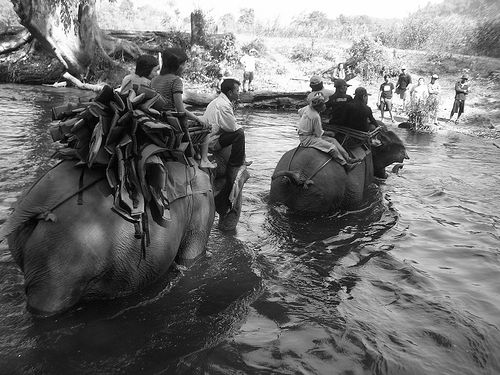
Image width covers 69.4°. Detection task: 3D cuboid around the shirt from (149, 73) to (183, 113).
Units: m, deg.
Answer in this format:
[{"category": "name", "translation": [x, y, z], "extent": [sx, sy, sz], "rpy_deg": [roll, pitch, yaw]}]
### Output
[{"category": "shirt", "translation": [-1.132, -1.316, 4.933], "extent": [0.376, 0.469, 0.548], "rpy_deg": [-6, 22, -29]}]

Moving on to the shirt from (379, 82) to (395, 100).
[{"category": "shirt", "translation": [6.864, -4.850, 18.049], "extent": [0.571, 0.780, 0.423], "rpy_deg": [10, 20, 15]}]

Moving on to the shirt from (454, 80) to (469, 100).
[{"category": "shirt", "translation": [10.881, -4.972, 18.518], "extent": [0.595, 0.914, 0.907], "rpy_deg": [14, 21, 27]}]

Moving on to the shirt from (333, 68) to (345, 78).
[{"category": "shirt", "translation": [6.114, -7.824, 24.603], "extent": [0.700, 0.544, 1.497], "rpy_deg": [7, 19, 5]}]

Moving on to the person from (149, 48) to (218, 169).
[{"category": "person", "translation": [-0.991, -1.116, 5.282], "extent": [0.649, 1.701, 0.998], "rpy_deg": [8, 10, 38]}]

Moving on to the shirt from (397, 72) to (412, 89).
[{"category": "shirt", "translation": [8.596, -5.883, 20.027], "extent": [0.617, 0.849, 0.459], "rpy_deg": [11, 20, 19]}]

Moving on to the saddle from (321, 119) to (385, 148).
[{"category": "saddle", "translation": [2.425, -1.139, 8.261], "extent": [1.000, 0.350, 0.715], "rpy_deg": [16, 12, -20]}]

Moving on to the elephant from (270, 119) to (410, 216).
[{"category": "elephant", "translation": [2.220, -0.203, 8.075], "extent": [3.520, 2.049, 1.616], "rpy_deg": [-19, 37, -31]}]

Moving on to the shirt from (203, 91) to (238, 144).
[{"category": "shirt", "translation": [-0.357, -1.171, 5.913], "extent": [0.513, 0.805, 0.627], "rpy_deg": [-20, 24, 3]}]

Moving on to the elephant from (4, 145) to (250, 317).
[{"category": "elephant", "translation": [-1.139, 0.243, 4.223], "extent": [1.199, 1.544, 2.832], "rpy_deg": [35, 31, 33]}]

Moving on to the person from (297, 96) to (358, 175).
[{"category": "person", "translation": [1.598, -1.129, 7.546], "extent": [1.293, 1.578, 0.753], "rpy_deg": [5, 28, 21]}]
